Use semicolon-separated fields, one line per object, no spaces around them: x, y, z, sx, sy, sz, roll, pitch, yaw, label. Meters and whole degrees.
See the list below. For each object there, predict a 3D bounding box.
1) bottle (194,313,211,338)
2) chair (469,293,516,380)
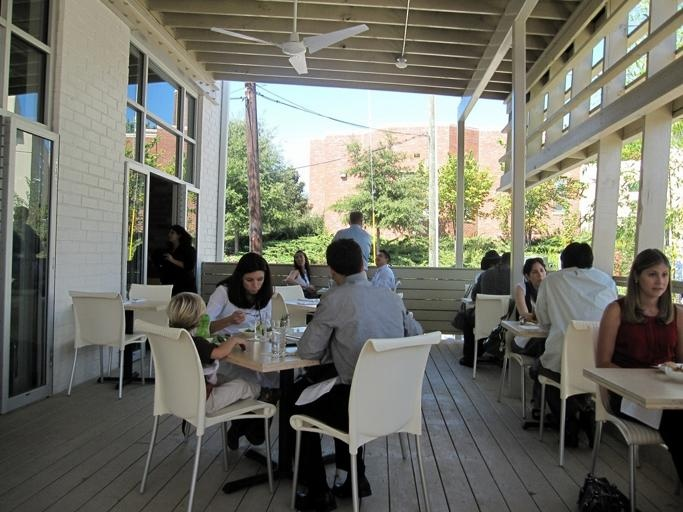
-0.982;0.508;3.569;0.124;0.202;0.128;3;-4;0;bottle
2.084;0.995;6.391;0.669;1.149;0.727;3;6;43;chair
